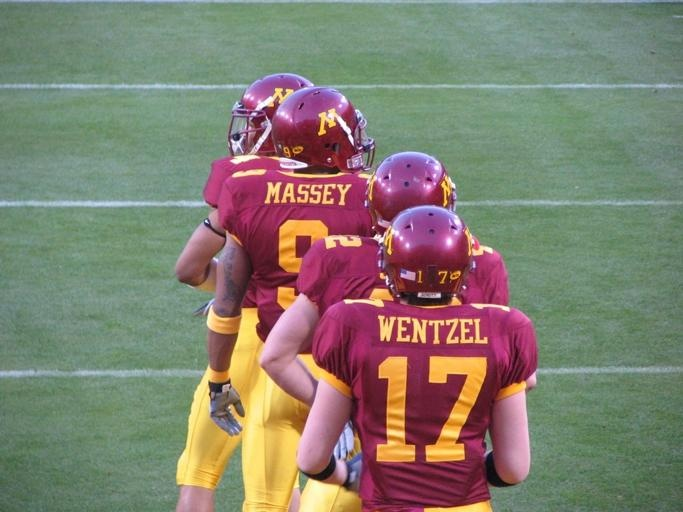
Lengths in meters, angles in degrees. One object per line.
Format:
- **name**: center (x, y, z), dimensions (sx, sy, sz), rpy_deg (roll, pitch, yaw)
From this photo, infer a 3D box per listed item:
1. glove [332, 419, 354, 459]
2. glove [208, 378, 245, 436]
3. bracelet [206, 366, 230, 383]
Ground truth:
- **glove**: center (-0.016, 1.458, 10.969), dimensions (0.086, 0.270, 0.207), rpy_deg (18, -15, 17)
- **glove**: center (-0.950, 1.242, 11.444), dimensions (0.130, 0.460, 0.296), rpy_deg (-25, 6, 33)
- **bracelet**: center (-1.011, 0.978, 11.409), dimensions (0.134, 0.086, 0.129), rpy_deg (-2, 5, -31)
